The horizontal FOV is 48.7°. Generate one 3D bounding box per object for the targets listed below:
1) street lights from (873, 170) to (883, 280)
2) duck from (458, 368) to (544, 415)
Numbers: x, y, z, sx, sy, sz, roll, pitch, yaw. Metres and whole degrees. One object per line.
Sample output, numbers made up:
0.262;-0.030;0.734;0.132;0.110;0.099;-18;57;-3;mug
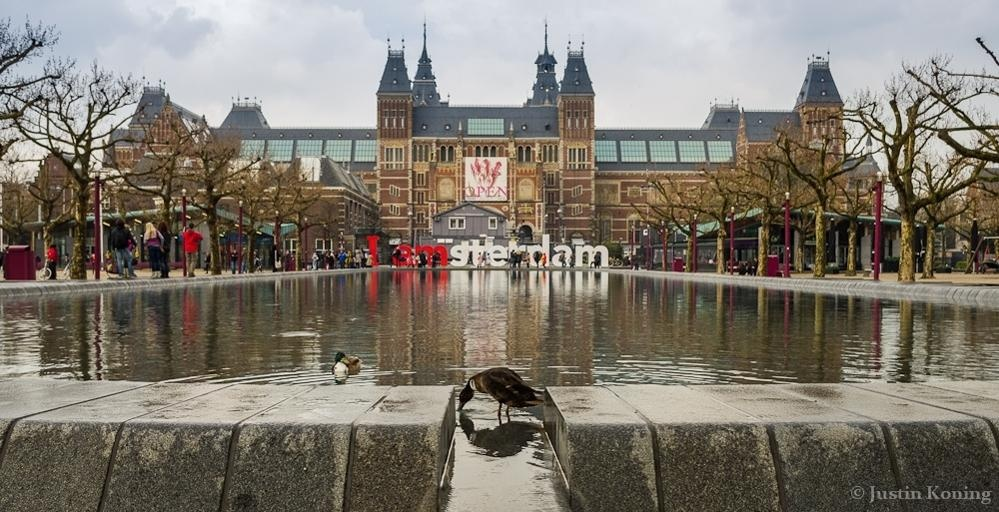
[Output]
-19.964;-2.098;54.579;0.732;4.237;0.625;1;4;-10;street lights
0.111;3.729;31.123;2.713;1.095;1.082;-4;-10;21;duck
